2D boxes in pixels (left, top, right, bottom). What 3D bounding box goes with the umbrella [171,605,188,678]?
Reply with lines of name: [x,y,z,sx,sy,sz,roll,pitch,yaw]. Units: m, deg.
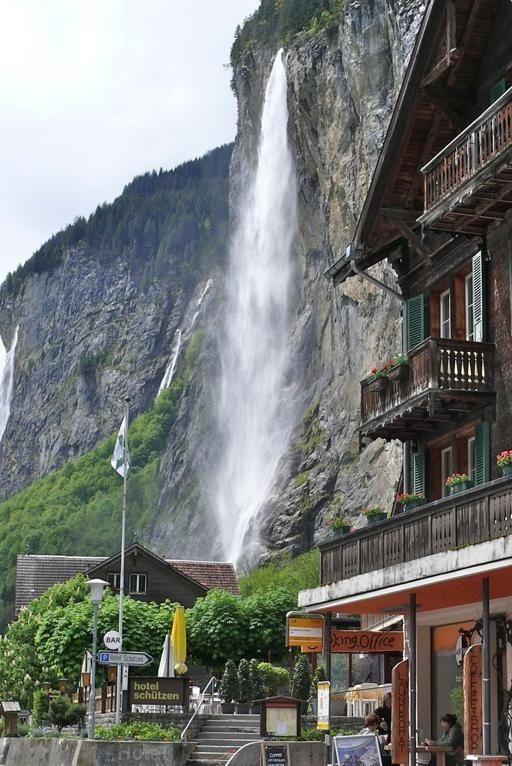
umbrella: [-2.265,7.307,52.673,0.419,1.474,1.756,-1,-1,-4]

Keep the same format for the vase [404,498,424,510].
vase: [3.327,2.468,39.018,0.239,0.202,0.379,7,-20,-31]

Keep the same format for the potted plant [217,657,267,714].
potted plant: [-0.412,8.535,52.693,1.416,2.255,1.079,7,-26,-17]

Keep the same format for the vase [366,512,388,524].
vase: [2.517,2.795,39.206,0.370,0.250,0.683,-1,-1,-34]
